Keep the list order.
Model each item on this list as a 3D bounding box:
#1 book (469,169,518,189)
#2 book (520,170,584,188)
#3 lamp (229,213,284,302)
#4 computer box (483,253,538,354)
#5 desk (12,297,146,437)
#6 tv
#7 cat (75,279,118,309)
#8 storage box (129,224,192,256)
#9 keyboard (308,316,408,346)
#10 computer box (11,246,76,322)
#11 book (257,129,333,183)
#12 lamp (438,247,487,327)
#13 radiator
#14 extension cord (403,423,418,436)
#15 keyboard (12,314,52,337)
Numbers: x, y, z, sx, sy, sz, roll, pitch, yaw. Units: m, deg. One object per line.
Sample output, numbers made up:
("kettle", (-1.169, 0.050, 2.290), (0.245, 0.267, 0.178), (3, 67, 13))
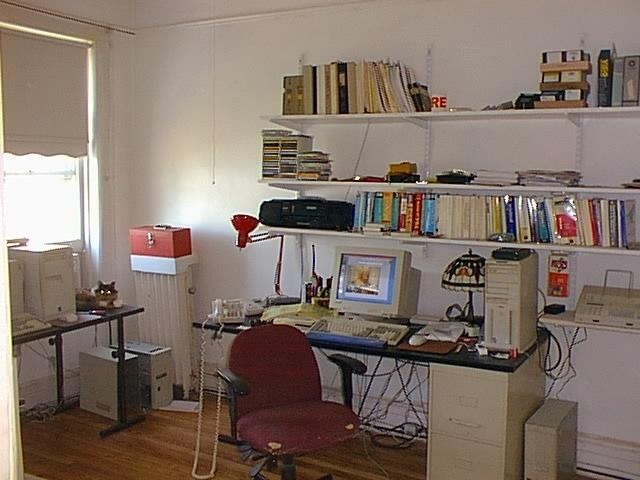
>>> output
("book", (1.136, -0.398, 3.394), (0.285, 0.093, 0.130), (5, 14, 22))
("book", (1.461, -0.393, 3.340), (0.381, 0.094, 0.152), (5, 14, 21))
("lamp", (-0.497, 0.090, 4.137), (0.386, 0.700, 0.244), (5, 8, 34))
("computer box", (1.157, 0.378, 3.224), (0.277, 0.674, 0.272), (6, 10, 31))
("desk", (-1.918, 0.898, 3.978), (0.719, 0.989, 0.877), (8, 8, 34))
("tv", (0.367, 0.302, 3.644), (0.541, 0.506, 0.287), (7, 8, 28))
("cat", (-1.744, 0.434, 4.115), (0.297, 0.177, 0.192), (-2, -2, 7))
("storage box", (-1.387, 0.016, 4.549), (0.466, 0.229, 0.273), (3, 11, 22))
("keyboard", (0.278, 0.553, 3.444), (0.571, 0.117, 0.487), (5, 7, 31))
("computer box", (-2.018, 0.317, 3.885), (0.347, 0.465, 0.280), (-1, 3, 37))
("book", (-0.211, -0.617, 3.919), (0.514, 0.400, 0.298), (1, 9, 13))
("lamp", (0.988, 0.271, 3.503), (0.248, 0.579, 0.216), (6, 8, 37))
("radiator", (-1.339, 0.660, 4.568), (0.456, 1.327, 0.328), (-4, 9, -41))
("extension cord", (0.676, 1.406, 3.888), (0.098, 0.097, 0.024), (3, -6, 19))
("keyboard", (-2.009, 0.566, 3.568), (0.203, 0.089, 0.255), (10, 16, 37))
